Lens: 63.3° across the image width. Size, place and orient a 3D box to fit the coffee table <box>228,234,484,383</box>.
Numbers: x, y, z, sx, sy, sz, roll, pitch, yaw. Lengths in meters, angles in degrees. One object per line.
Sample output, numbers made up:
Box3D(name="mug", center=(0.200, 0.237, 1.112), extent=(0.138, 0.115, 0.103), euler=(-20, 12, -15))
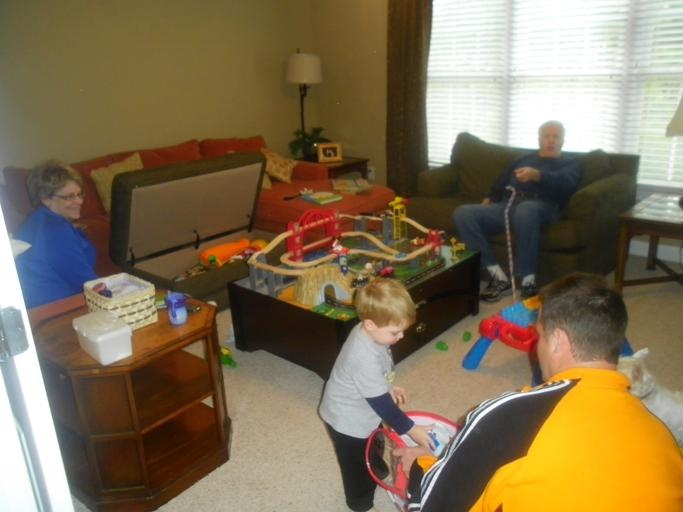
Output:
Box3D(name="coffee table", center=(-0.127, 0.351, 3.268), extent=(0.816, 0.420, 1.134), euler=(17, 29, 42))

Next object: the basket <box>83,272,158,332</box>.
Box3D(name="basket", center=(-0.933, 0.175, 2.352), extent=(0.246, 0.155, 0.250), euler=(12, 19, 23))

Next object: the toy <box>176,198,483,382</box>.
Box3D(name="toy", center=(-0.001, 0.339, 3.233), extent=(1.209, 0.553, 1.123), euler=(15, 29, 36))

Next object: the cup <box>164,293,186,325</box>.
Box3D(name="cup", center=(-0.718, 0.234, 2.399), extent=(0.088, 0.150, 0.083), euler=(-1, 20, 0))

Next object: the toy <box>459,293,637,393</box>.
Box3D(name="toy", center=(1.011, 0.433, 3.134), extent=(0.583, 0.259, 0.593), euler=(13, 31, 41))

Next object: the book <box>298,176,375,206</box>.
Box3D(name="book", center=(-0.056, -0.551, 4.800), extent=(0.400, 0.095, 0.384), euler=(-20, 26, -38))

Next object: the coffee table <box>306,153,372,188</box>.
Box3D(name="coffee table", center=(-0.051, -0.904, 5.755), extent=(0.396, 0.271, 0.524), euler=(15, 28, 33))

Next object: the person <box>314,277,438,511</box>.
Box3D(name="person", center=(0.116, 0.606, 2.386), extent=(0.569, 1.070, 0.446), euler=(-2, 36, 1))

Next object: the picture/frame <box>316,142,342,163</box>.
Box3D(name="picture/frame", center=(-0.142, -1.096, 5.922), extent=(0.246, 0.188, 0.026), euler=(-3, -3, -23))

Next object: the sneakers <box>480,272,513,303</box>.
Box3D(name="sneakers", center=(1.115, 0.245, 4.092), extent=(0.288, 0.141, 0.127), euler=(-30, 37, -32))

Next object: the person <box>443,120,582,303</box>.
Box3D(name="person", center=(1.360, -0.398, 4.214), extent=(0.755, 1.535, 0.782), euler=(4, -7, 37))
